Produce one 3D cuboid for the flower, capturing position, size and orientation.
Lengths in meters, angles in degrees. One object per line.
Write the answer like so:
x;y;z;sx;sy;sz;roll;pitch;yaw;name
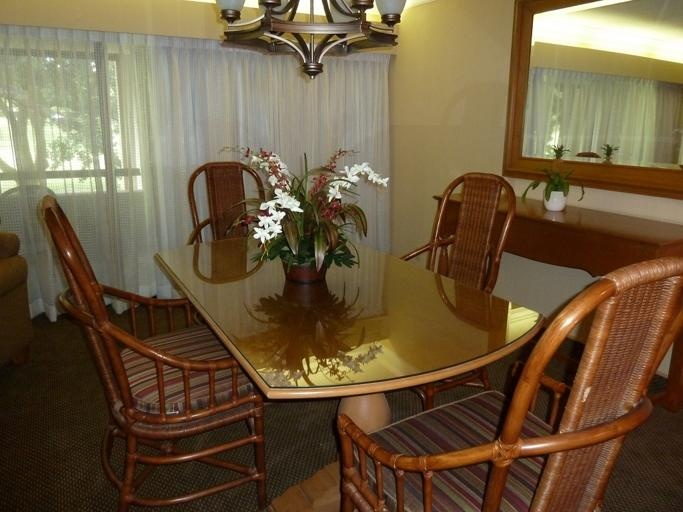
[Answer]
-0.202;-0.188;2.315;0.702;0.527;0.619;0;14;-9;flower
